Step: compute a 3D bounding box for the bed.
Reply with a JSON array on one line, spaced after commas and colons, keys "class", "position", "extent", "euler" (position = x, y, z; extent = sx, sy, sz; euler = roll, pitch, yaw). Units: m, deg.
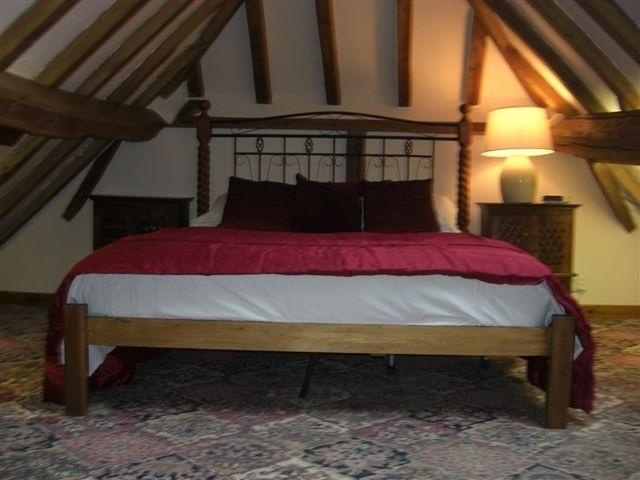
[{"class": "bed", "position": [0.106, 0.104, 3.338], "extent": [2.913, 1.474, 2.564], "euler": [0, 2, 8]}]

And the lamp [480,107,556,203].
[{"class": "lamp", "position": [1.755, -0.700, 4.437], "extent": [0.675, 0.706, 0.651], "euler": [-3, 6, -43]}]

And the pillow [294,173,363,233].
[{"class": "pillow", "position": [0.062, -0.265, 4.028], "extent": [0.787, 0.574, 0.240], "euler": [1, -37, 3]}]

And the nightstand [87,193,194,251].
[{"class": "nightstand", "position": [-1.504, -0.148, 4.214], "extent": [0.714, 0.499, 0.242], "euler": [0, 5, 2]}]
